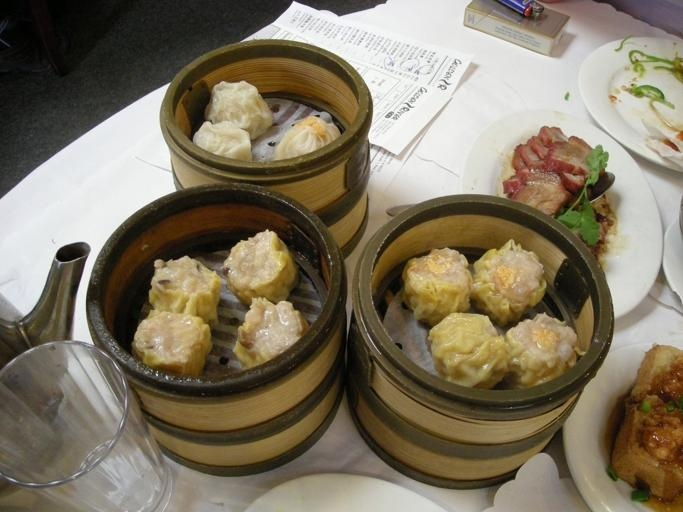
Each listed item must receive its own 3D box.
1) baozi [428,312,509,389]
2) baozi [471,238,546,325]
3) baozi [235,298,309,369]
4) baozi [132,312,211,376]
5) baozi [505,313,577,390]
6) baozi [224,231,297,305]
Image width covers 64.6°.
[{"bbox_3d":[0.293,0.220,1.341,0.203,0.155,0.145,-14,26,-38],"label":"baozi"},{"bbox_3d":[0.429,0.075,1.394,0.168,0.115,0.158,-31,70,-19],"label":"baozi"},{"bbox_3d":[-0.167,0.194,1.287,0.149,0.116,0.168,21,63,5],"label":"baozi"},{"bbox_3d":[-0.401,0.178,1.293,0.181,0.134,0.139,-17,37,-35],"label":"baozi"},{"bbox_3d":[0.474,0.224,1.298,0.155,0.093,0.140,-18,66,-14],"label":"baozi"},{"bbox_3d":[-0.195,0.018,1.423,0.185,0.179,0.140,28,40,32],"label":"baozi"}]
